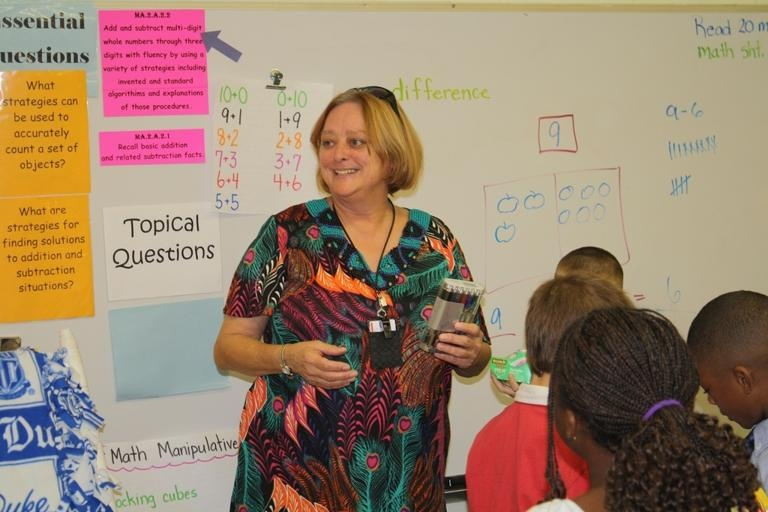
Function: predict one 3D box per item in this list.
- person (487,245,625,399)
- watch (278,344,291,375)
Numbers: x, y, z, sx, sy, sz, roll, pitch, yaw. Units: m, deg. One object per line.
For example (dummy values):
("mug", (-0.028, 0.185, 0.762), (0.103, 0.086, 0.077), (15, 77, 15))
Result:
("person", (0.675, 0.338, 2.520), (0.359, 0.788, 0.264), (14, 4, 0))
("watch", (-0.302, 0.324, 2.033), (0.040, 0.097, 0.036), (0, 4, 7))
